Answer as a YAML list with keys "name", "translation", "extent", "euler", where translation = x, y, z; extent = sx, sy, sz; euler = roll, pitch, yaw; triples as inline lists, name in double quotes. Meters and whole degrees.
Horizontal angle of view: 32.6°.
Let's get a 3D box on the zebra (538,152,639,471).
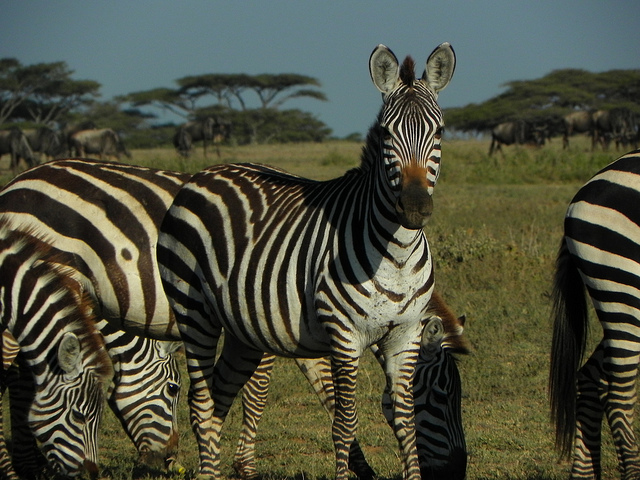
- name: "zebra"
  translation: [3.150, 0.715, 12.579]
  extent: [1.012, 3.601, 2.449]
  euler: [4, 10, 12]
